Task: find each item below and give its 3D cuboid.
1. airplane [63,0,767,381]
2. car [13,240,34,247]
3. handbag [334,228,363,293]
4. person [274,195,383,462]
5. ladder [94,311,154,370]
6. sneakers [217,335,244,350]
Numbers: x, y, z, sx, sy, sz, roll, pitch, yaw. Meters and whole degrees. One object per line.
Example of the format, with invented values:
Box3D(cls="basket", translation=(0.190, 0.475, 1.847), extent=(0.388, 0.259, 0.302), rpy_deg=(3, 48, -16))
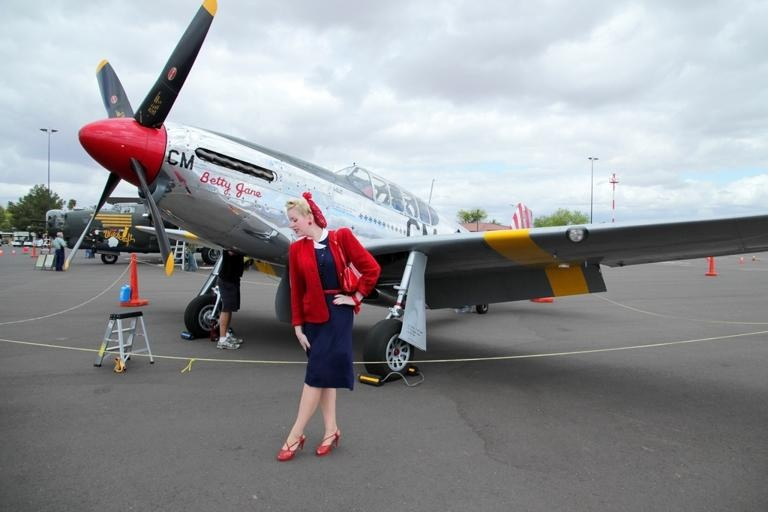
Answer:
Box3D(cls="airplane", translation=(0.136, -0.948, 6.884), extent=(8.867, 4.762, 3.547), rpy_deg=(2, 9, 11))
Box3D(cls="car", translation=(-37.510, -1.249, 49.029), extent=(1.682, 0.799, 2.119), rpy_deg=(-2, -2, 27))
Box3D(cls="handbag", translation=(-0.314, 0.066, 4.100), extent=(0.190, 0.431, 0.372), rpy_deg=(-14, 30, 18))
Box3D(cls="person", translation=(-0.494, 0.641, 4.104), extent=(0.813, 2.222, 0.421), rpy_deg=(1, 9, -2))
Box3D(cls="ladder", translation=(-3.664, 1.223, 6.666), extent=(0.772, 0.946, 0.766), rpy_deg=(-1, 0, 22))
Box3D(cls="sneakers", translation=(-2.312, 1.285, 7.051), extent=(0.283, 0.087, 0.210), rpy_deg=(1, 6, 4))
